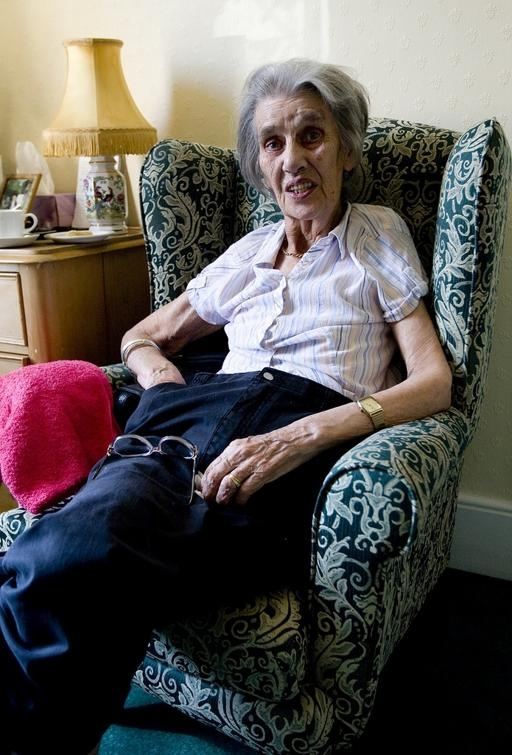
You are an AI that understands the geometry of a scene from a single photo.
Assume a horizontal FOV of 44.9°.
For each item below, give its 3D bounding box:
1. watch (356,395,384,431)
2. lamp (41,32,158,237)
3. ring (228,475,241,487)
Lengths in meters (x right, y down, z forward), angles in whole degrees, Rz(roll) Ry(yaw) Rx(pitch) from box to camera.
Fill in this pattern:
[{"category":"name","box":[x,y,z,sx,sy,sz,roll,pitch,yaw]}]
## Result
[{"category":"watch","box":[0.168,0.053,0.955,0.035,0.045,0.047,-25,56,-16]},{"category":"lamp","box":[-0.415,-0.643,1.667,0.310,0.467,0.294,-3,21,-11]},{"category":"ring","box":[-0.030,0.147,0.866,0.012,0.006,0.016,25,24,-19]}]
